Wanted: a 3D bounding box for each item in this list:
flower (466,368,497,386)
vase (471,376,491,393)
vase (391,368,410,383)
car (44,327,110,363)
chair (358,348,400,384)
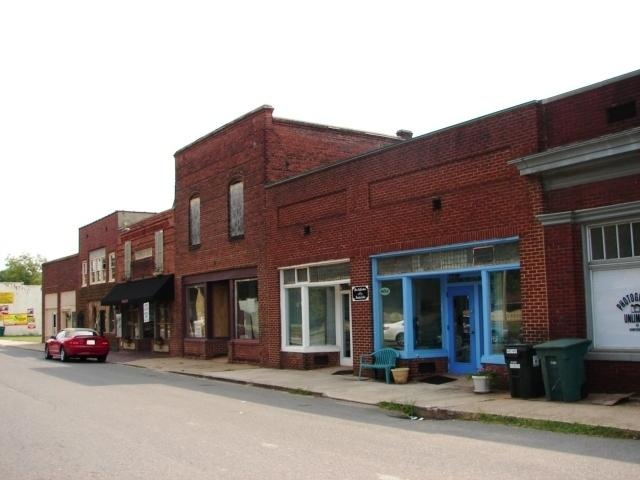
[{"bbox_3d":[4.101,3.385,14.276,0.520,0.353,0.550,-5,-10,22],"label":"flower"},{"bbox_3d":[3.961,3.510,14.143,0.410,0.381,0.483,-2,-7,28],"label":"vase"},{"bbox_3d":[2.265,3.815,16.129,0.465,0.290,0.438,3,-14,-15],"label":"vase"},{"bbox_3d":[-11.693,4.938,26.924,2.951,1.520,1.545,-9,-16,31],"label":"car"},{"bbox_3d":[1.800,3.681,17.079,0.672,0.797,1.313,-1,-5,-39],"label":"chair"}]
